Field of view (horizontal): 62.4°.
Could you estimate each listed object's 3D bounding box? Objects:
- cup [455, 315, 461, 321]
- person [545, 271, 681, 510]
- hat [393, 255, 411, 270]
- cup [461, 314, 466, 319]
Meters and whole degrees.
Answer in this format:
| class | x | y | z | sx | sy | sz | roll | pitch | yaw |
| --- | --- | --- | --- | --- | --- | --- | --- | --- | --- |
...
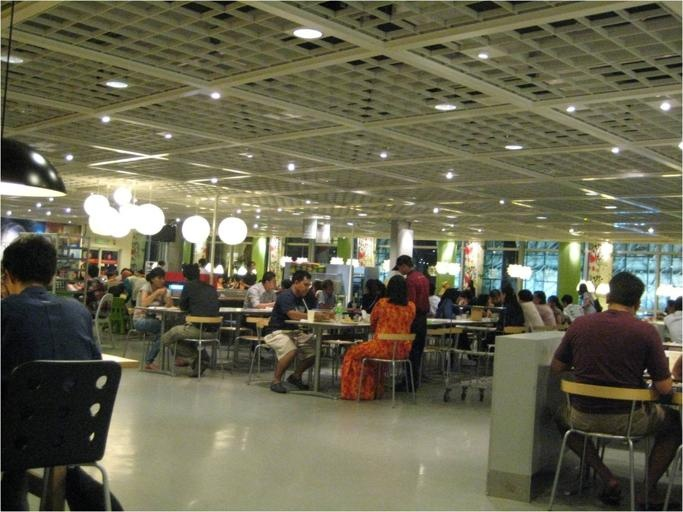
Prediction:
| class | x | y | z | sx | sy | sz | roll | pitch | yaw |
| --- | --- | --- | --- | --- | --- | --- | --- | --- | --- |
| cup | 2.117 | 1.123 | 10.178 | 0.082 | 0.065 | 0.058 | 3 | 5 | 29 |
| person | 2.111 | 1.012 | 4.304 | 0.972 | 1.815 | 0.555 | 5 | -3 | 16 |
| hat | 0.938 | 0.079 | 8.571 | 0.219 | 0.147 | 0.275 | 3 | -1 | -21 |
| cup | 2.265 | 1.125 | 10.430 | 0.084 | 0.087 | 0.150 | -3 | -6 | 27 |
